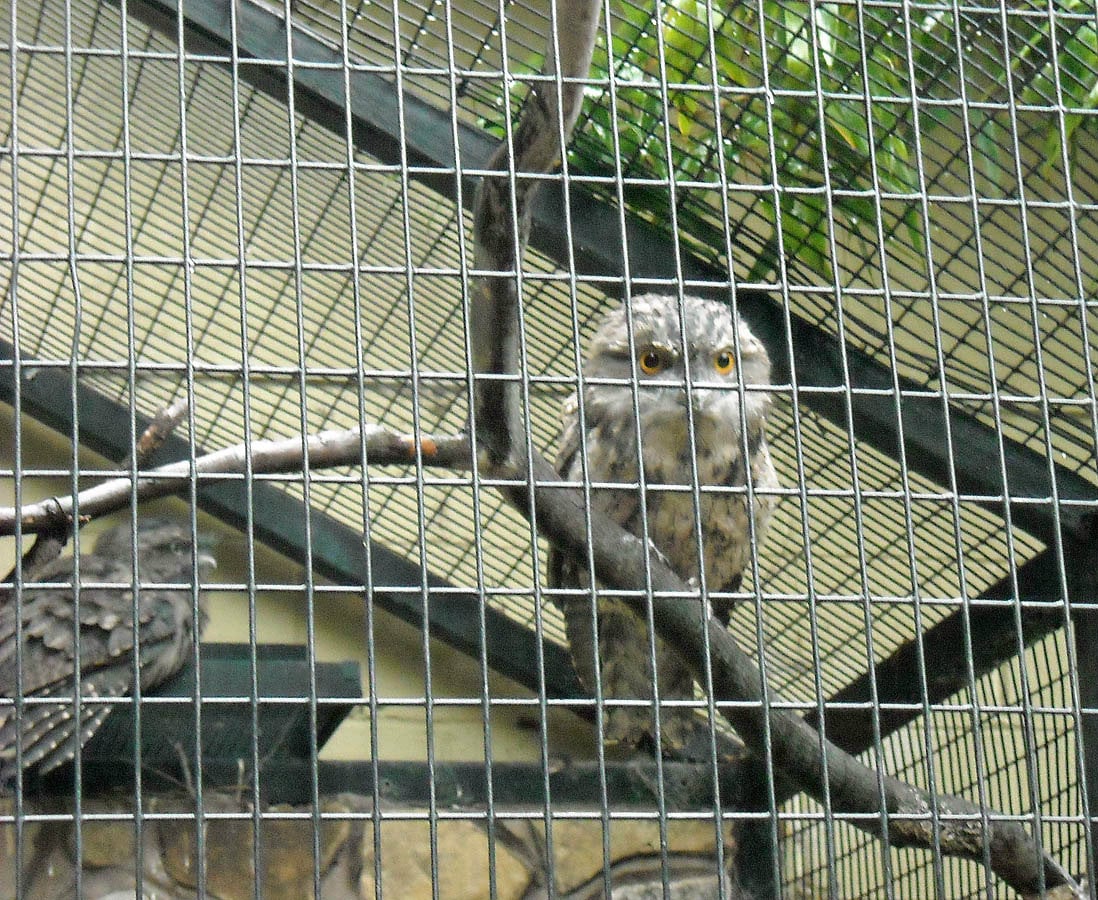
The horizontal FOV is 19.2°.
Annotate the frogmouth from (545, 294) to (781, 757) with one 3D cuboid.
[{"bbox_3d":[0.228,0.119,6.201,0.451,0.830,0.747,8,-36,-12],"label":"frogmouth"}]
